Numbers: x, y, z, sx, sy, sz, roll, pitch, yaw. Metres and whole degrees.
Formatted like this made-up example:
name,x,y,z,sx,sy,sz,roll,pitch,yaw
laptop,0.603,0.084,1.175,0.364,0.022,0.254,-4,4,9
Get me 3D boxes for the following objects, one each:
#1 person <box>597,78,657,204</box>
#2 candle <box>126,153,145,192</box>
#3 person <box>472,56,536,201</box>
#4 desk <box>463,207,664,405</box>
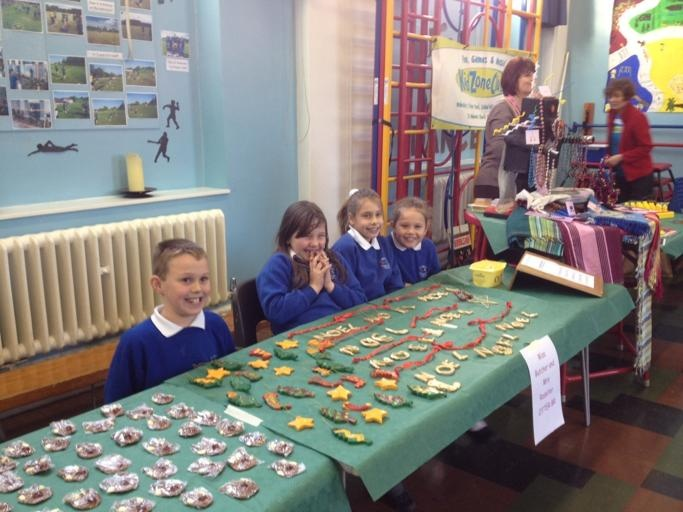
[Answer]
name,x,y,z,sx,sy,sz,roll,pitch,yaw
person,2.326,-0.925,4.128,0.406,0.988,0.515,9,21,37
candle,-1.358,-0.543,3.317,0.105,0.245,0.208,-11,18,-22
person,1.119,-0.866,3.533,0.381,0.974,0.674,3,18,22
desk,1.310,0.091,3.141,1.032,0.831,1.019,-8,15,-30
